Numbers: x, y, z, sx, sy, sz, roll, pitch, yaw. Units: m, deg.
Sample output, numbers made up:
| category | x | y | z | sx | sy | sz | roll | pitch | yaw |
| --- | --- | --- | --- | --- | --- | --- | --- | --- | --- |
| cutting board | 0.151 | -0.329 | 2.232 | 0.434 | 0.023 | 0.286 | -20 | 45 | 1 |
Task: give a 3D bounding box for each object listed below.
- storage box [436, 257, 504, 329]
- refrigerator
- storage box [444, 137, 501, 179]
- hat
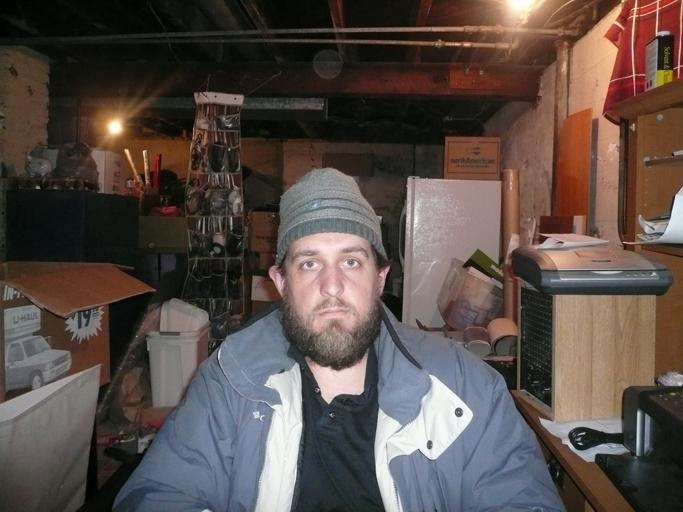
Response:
| category | x | y | z | sx | sy | sz | roll | pitch | yaw |
| --- | --- | --- | --- | --- | --- | --- | --- | --- | --- |
| storage box | 1.105 | 0.376 | 4.805 | 0.334 | 0.607 | 0.591 | 16 | -6 | -31 |
| refrigerator | 1.128 | -0.243 | 5.630 | 0.970 | 1.833 | 1.013 | 5 | 40 | 13 |
| storage box | 1.242 | -0.928 | 5.177 | 0.419 | 0.484 | 0.340 | 0 | 6 | 8 |
| hat | -0.069 | -0.154 | 2.475 | 0.410 | 0.352 | 0.442 | -2 | 3 | -4 |
